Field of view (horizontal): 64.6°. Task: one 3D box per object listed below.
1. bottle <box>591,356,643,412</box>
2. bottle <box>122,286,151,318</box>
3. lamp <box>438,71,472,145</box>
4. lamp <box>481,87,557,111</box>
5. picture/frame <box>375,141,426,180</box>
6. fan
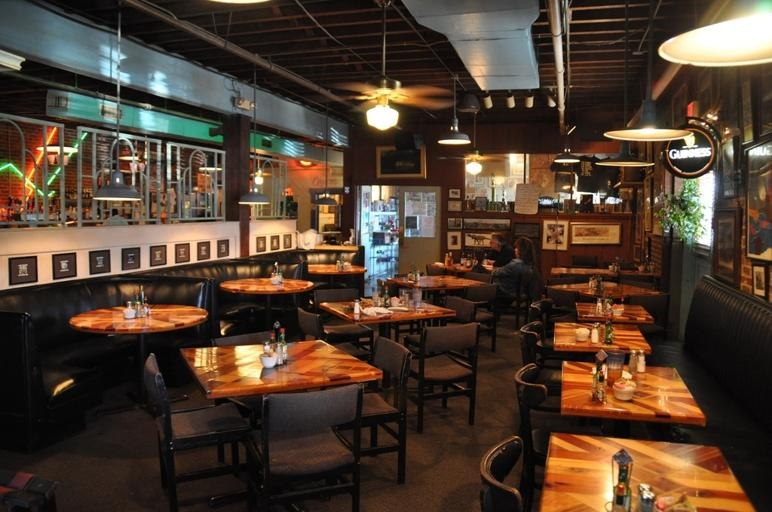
[{"bbox_3d":[1.907,1.024,5.124,0.486,0.406,0.314,0,2,10],"label":"bottle"},{"bbox_3d":[-3.067,0.567,7.433,0.320,0.356,0.365,3,4,16],"label":"bottle"},{"bbox_3d":[1.101,-2.294,9.566,0.611,0.980,0.635,11,21,39],"label":"lamp"},{"bbox_3d":[2.448,-2.783,11.033,1.292,0.319,2.204,0,5,14],"label":"lamp"},{"bbox_3d":[0.407,-2.197,13.987,1.062,0.639,0.069,1,1,16],"label":"picture/frame"},{"bbox_3d":[0.089,-2.506,9.515,1.889,1.695,1.683,1,1,8],"label":"fan"}]
